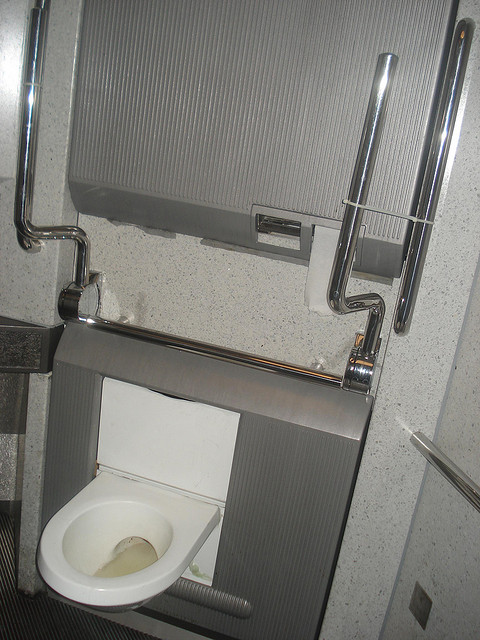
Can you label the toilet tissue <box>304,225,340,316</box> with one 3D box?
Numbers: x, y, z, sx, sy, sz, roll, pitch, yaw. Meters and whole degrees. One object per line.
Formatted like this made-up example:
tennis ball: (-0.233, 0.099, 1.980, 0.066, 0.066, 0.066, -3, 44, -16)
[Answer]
toilet tissue: (0.163, -0.104, 0.990, 0.063, 0.186, 0.035, 6, -1, 16)
